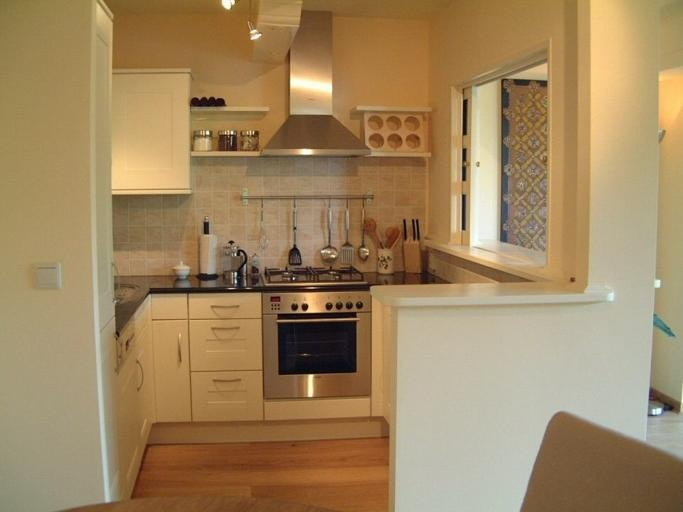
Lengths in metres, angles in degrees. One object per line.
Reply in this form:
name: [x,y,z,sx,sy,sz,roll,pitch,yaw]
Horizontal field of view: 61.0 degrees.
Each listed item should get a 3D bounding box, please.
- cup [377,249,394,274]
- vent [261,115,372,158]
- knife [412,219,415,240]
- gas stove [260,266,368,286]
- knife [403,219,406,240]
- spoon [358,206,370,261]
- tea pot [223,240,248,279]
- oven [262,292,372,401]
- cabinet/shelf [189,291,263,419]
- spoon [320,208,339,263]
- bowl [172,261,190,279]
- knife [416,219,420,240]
cup: [0.333,0.036,4.431,0.115,0.188,0.099,0,11,-3]
vent: [-0.174,-0.851,4.037,0.728,0.272,0.310,1,12,2]
knife: [0.560,-0.207,4.511,0.030,0.151,0.016,2,11,6]
gas stove: [-0.204,0.138,4.136,0.690,0.041,0.615,-1,12,-6]
knife: [0.493,-0.212,4.518,0.038,0.158,0.048,-2,12,-13]
spoon: [0.172,-0.165,4.465,0.084,0.413,0.113,2,11,6]
tea pot: [-0.786,0.037,4.325,0.228,0.258,0.145,-4,-11,17]
oven: [-0.118,0.466,4.177,0.920,0.940,0.636,-1,1,-5]
cabinet/shelf: [-0.753,0.691,4.063,0.520,0.901,0.514,-1,-2,5]
spoon: [-0.094,-0.149,4.420,0.125,0.446,0.100,-10,15,-42]
bowl: [-1.154,0.106,4.218,0.121,0.129,0.118,1,8,0]
knife: [0.596,-0.208,4.518,0.036,0.143,0.020,-2,-5,-23]
